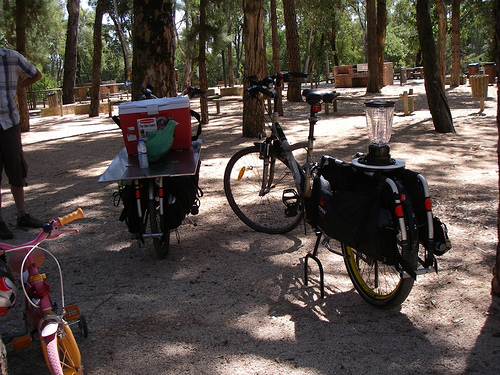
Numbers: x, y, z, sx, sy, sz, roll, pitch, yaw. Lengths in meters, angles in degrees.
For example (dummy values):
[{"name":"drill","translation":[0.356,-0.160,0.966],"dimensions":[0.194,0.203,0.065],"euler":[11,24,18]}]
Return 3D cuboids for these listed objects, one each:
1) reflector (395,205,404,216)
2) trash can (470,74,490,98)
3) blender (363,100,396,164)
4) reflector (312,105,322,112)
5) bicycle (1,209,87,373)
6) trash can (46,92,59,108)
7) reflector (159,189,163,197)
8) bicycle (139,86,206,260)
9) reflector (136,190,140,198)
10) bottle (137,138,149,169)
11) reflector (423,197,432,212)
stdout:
[{"name":"reflector","translation":[1.139,0.173,3.283],"dimensions":[0.059,0.117,0.076],"euler":[0,3,19]},{"name":"trash can","translation":[7.375,-3.355,14.088],"dimensions":[0.563,0.764,0.586],"euler":[-5,-9,12]},{"name":"blender","translation":[1.094,-0.487,3.665],"dimensions":[0.263,0.504,0.542],"euler":[-2,11,19]},{"name":"reflector","translation":[0.614,-0.744,4.022],"dimensions":[0.058,0.065,0.088],"euler":[2,3,37]},{"name":"bicycle","translation":[-1.473,0.767,3.555],"dimensions":[0.623,0.870,1.296],"euler":[-12,10,-23]},{"name":"trash can","translation":[-12.201,-5.416,26.725],"dimensions":[0.538,0.766,0.643],"euler":[-10,11,-28]},{"name":"reflector","translation":[-0.976,0.055,4.723],"dimensions":[0.043,0.085,0.044],"euler":[-7,10,-15]},{"name":"bicycle","translation":[-1.009,-0.099,4.996],"dimensions":[0.868,2.047,0.929],"euler":[0,17,-19]},{"name":"reflector","translation":[-1.228,0.069,4.719],"dimensions":[0.038,0.087,0.030],"euler":[-8,10,-18]},{"name":"bottle","translation":[-1.181,-0.378,4.755],"dimensions":[0.096,0.312,0.234],"euler":[-7,10,-14]},{"name":"reflector","translation":[1.388,0.120,3.386],"dimensions":[0.050,0.117,0.124],"euler":[0,11,26]}]
